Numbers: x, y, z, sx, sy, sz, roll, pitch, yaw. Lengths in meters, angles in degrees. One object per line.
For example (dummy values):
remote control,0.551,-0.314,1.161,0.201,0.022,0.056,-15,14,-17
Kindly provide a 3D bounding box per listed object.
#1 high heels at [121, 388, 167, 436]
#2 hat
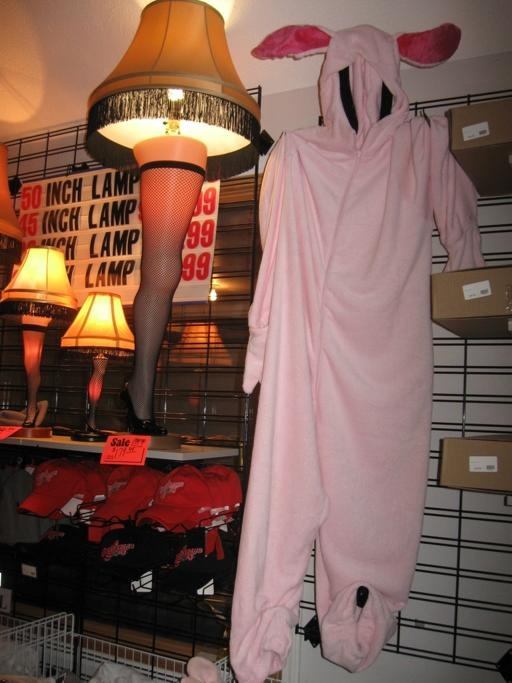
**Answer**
high heels,-0.295,0.174,1.434,0.082,0.116,0.203,0,4,-37
hat,-0.373,0.424,1.593,0.630,0.179,0.298,3,4,21
